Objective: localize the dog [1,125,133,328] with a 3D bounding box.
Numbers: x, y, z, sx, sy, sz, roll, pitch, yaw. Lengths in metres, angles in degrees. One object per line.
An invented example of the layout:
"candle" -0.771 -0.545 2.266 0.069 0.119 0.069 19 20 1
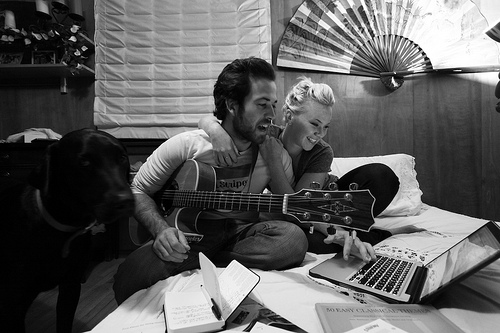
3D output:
"dog" -0.921 0.339 1.781 0.683 1.057 0.334 1 11 -11

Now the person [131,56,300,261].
"person" -0.180 -0.100 2.258 1.015 1.175 0.595 -4 12 -35
